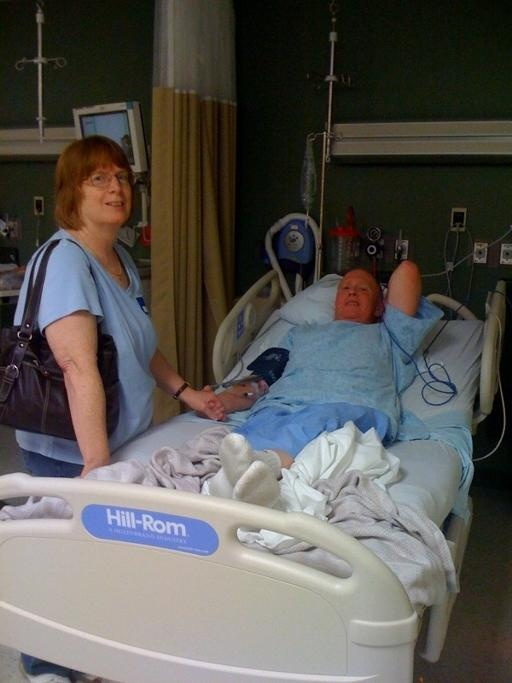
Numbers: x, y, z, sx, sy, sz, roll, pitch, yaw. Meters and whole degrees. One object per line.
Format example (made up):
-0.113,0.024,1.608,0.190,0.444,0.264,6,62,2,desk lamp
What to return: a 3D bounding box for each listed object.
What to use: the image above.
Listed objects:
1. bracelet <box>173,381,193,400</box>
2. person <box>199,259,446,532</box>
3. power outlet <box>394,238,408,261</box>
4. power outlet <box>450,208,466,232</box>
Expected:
-0.244,0.152,1.955,0.042,0.055,0.054,46,15,16,bracelet
0.182,0.091,2.111,0.783,0.473,1.210,-1,24,31,person
0.737,-0.461,3.179,0.051,0.112,0.064,-5,11,-32,power outlet
0.980,-0.596,3.059,0.075,0.116,0.040,4,10,17,power outlet
